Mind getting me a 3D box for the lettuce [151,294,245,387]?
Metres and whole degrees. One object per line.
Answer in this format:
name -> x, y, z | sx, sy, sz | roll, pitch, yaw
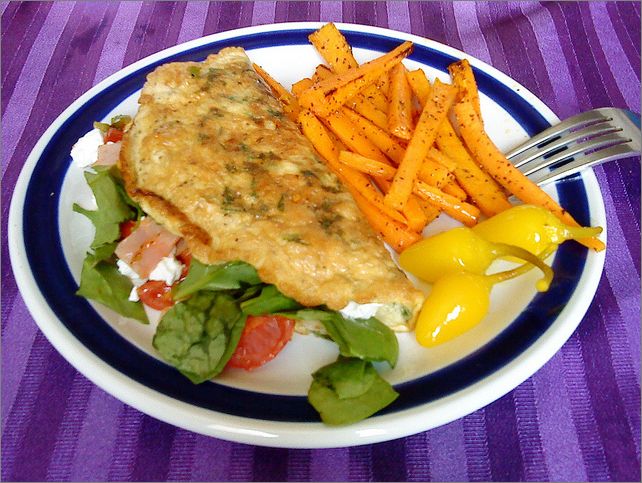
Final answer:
lettuce -> -0.764, 0.582, 3.746 | 0.509, 0.107, 0.562 | 39, 79, 5
